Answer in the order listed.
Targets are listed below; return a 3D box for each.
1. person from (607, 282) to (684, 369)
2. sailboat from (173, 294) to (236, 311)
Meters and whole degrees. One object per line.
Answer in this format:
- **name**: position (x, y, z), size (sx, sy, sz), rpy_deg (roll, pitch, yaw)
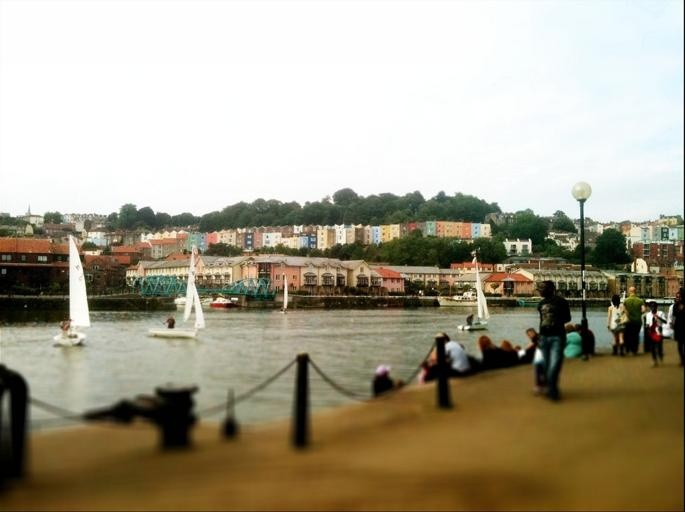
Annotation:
- **person**: position (6.456, 1.421, 19.852), size (1.228, 1.733, 1.135), rpy_deg (-4, 3, 33)
- **sailboat**: position (-13.089, 4.374, 91.137), size (2.216, 1.625, 8.102), rpy_deg (3, -5, -45)
